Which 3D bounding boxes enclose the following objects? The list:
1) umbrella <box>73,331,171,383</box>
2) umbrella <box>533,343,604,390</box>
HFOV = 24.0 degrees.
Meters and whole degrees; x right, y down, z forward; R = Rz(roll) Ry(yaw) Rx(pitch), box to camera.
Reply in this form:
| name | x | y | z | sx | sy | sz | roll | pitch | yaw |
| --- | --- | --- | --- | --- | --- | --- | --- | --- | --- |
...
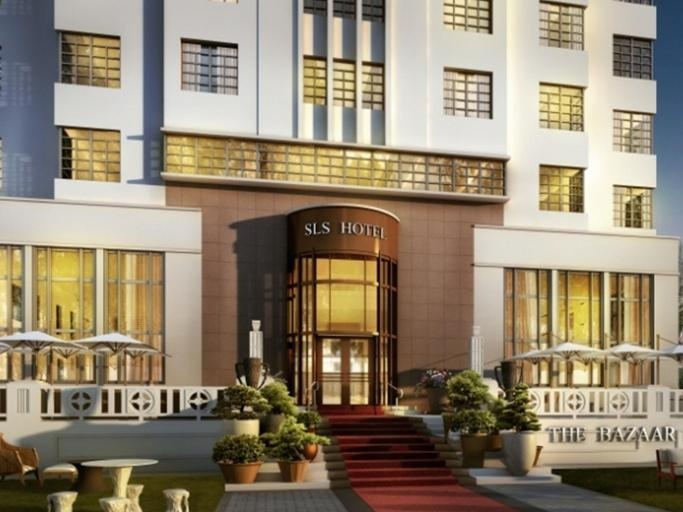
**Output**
| name | x | y | z | sx | sy | sz | roll | pitch | yaw |
| --- | --- | --- | --- | --- | --- | --- | --- | --- | --- |
| umbrella | -9.037 | 3.632 | 64.550 | 3.609 | 2.074 | 2.150 | 4 | -10 | -9 |
| umbrella | 9.352 | 3.997 | 66.030 | 1.690 | 1.110 | 1.722 | -7 | -11 | 36 |
